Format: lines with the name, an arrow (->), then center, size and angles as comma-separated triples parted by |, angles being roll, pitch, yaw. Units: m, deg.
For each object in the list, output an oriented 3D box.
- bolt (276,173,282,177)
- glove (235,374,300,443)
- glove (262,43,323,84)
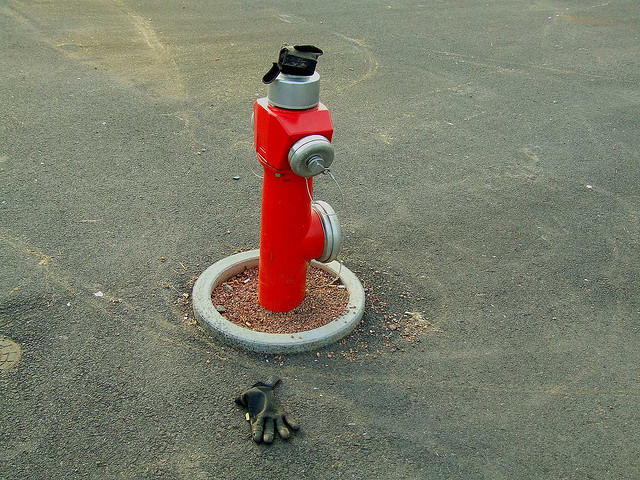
bolt -> -0.374, -0.608, 5.978 | 0.040, 0.009, 0.036 | 6, 86, 0
glove -> -0.504, 1.505, 5.831 | 0.541, 0.219, 0.797 | -5, 42, -18
glove -> -0.278, -1.624, 5.750 | 0.614, 0.546, 0.223 | 11, 98, 14
